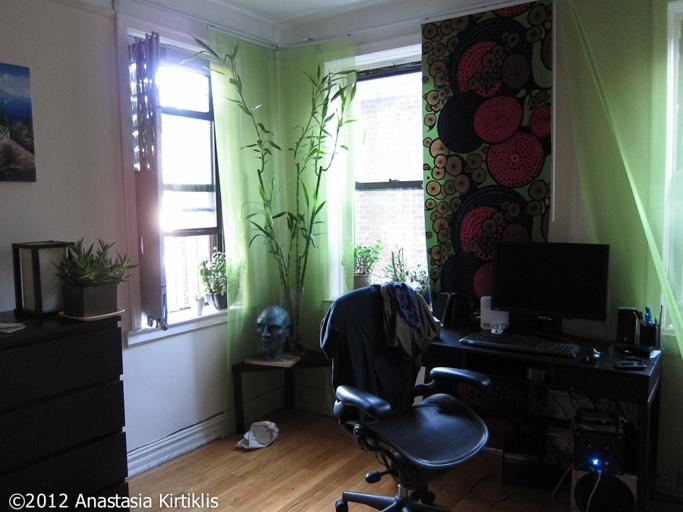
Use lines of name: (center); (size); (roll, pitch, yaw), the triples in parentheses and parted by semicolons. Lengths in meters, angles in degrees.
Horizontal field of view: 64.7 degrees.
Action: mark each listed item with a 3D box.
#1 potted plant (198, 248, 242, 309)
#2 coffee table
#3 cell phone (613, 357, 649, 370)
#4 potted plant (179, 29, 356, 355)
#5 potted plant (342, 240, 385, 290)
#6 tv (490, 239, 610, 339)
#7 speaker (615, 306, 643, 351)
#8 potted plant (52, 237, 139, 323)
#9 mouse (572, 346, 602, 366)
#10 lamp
potted plant: (-0.954, 0.191, 4.167); (0.215, 0.474, 0.262); (-11, 15, -41)
coffee table: (-0.521, 1.183, 4.280); (0.816, 0.622, 0.858); (-1, -6, -19)
cell phone: (1.611, 0.597, 2.996); (0.193, 0.018, 0.137); (1, 12, 10)
potted plant: (-0.445, -0.454, 4.317); (1.080, 2.360, 0.518); (-3, 11, -10)
potted plant: (0.170, 0.132, 4.341); (0.222, 0.302, 0.226); (7, 0, 22)
tv: (1.351, 0.201, 3.423); (0.553, 0.510, 0.188); (2, -4, 26)
speaker: (1.746, 0.426, 3.311); (0.120, 0.224, 0.117); (2, -5, 26)
potted plant: (-1.354, 0.110, 3.011); (0.345, 0.374, 0.376); (4, 24, 35)
mouse: (1.427, 0.572, 3.126); (0.083, 0.041, 0.159); (-3, 4, -3)
lamp: (-1.646, 0.105, 3.118); (0.352, 0.520, 0.363); (3, 3, 19)
